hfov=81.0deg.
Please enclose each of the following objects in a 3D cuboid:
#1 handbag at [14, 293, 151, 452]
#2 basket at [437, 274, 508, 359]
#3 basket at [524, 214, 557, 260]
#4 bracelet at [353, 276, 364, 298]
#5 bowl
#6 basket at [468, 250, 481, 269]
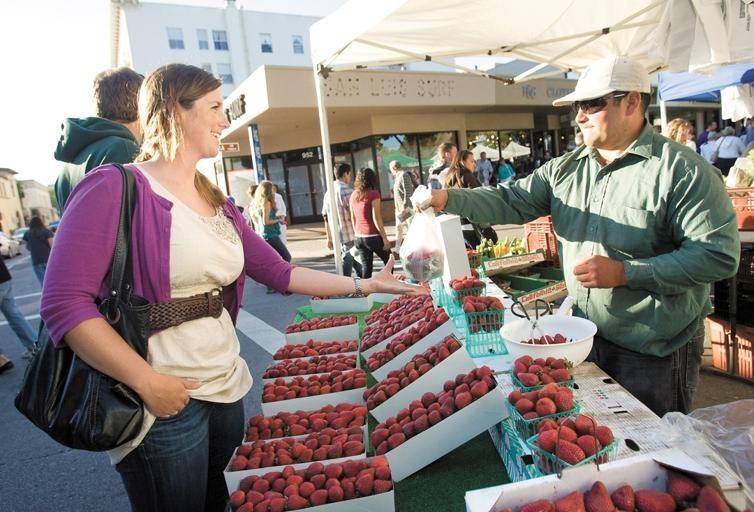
[{"bbox_3d":[-1.272,0.581,1.864,0.520,0.516,0.199,-1,14,20],"label":"handbag"},{"bbox_3d":[0.699,0.435,3.190,0.224,0.273,0.722,-8,2,3],"label":"basket"},{"bbox_3d":[1.927,-0.201,5.163,0.358,0.541,0.536,0,0,-14],"label":"basket"},{"bbox_3d":[-0.116,0.205,2.798,0.080,0.124,0.130,5,5,1],"label":"bracelet"},{"bbox_3d":[1.008,0.458,2.571,0.347,0.149,0.366,-8,9,1],"label":"bowl"},{"bbox_3d":[0.980,0.040,4.452,0.122,0.093,0.193,0,-6,0],"label":"basket"}]
